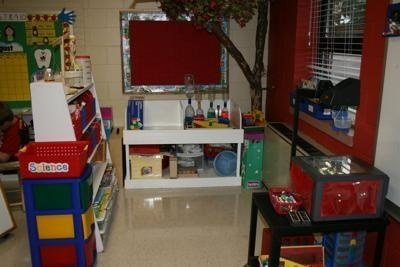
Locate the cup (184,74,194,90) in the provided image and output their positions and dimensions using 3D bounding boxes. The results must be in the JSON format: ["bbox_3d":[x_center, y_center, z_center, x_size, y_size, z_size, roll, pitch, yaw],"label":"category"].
[{"bbox_3d":[-0.206,-0.936,5.505,0.166,0.286,0.169,-3,16,1],"label":"cup"}]

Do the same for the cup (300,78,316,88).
[{"bbox_3d":[1.066,-0.491,2.976,0.109,0.086,0.163,0,6,-45],"label":"cup"}]

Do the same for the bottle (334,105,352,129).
[{"bbox_3d":[1.692,-0.194,3.589,0.214,0.207,0.402,4,18,25],"label":"bottle"}]

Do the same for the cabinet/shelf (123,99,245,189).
[{"bbox_3d":[-0.305,0.205,5.026,1.412,1.021,0.527,-1,10,-3],"label":"cabinet/shelf"}]

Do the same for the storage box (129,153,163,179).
[{"bbox_3d":[-0.997,0.613,5.189,0.574,0.373,0.593,2,-7,-27],"label":"storage box"}]

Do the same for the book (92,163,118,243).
[{"bbox_3d":[-1.268,0.940,3.965,0.305,0.309,0.869,-2,24,-6],"label":"book"}]
